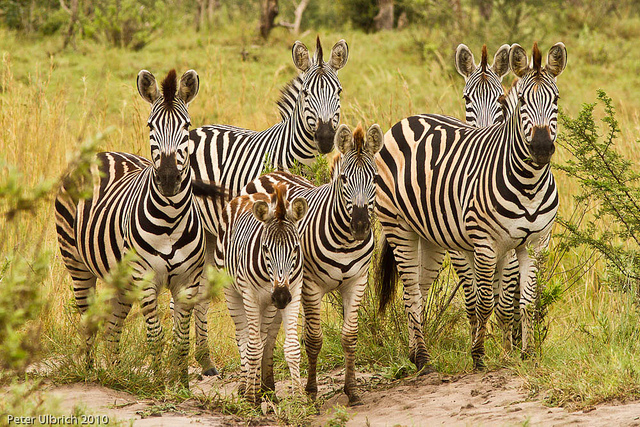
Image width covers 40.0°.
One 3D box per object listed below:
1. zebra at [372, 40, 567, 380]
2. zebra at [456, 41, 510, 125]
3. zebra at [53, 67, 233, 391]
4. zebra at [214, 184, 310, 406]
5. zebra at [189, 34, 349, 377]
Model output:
[{"bbox_3d":[1.780,-0.038,10.870,2.267,4.098,1.060,12,19,30],"label":"zebra"},{"bbox_3d":[2.319,-1.433,12.730,0.707,1.915,2.198,0,2,7],"label":"zebra"},{"bbox_3d":[-2.241,0.164,10.626,1.741,3.727,1.182,8,17,20],"label":"zebra"},{"bbox_3d":[-0.649,1.048,10.380,0.966,2.836,1.656,-2,17,-13],"label":"zebra"},{"bbox_3d":[-0.648,-0.995,14.087,1.386,4.910,5.443,-1,-1,-23],"label":"zebra"}]
